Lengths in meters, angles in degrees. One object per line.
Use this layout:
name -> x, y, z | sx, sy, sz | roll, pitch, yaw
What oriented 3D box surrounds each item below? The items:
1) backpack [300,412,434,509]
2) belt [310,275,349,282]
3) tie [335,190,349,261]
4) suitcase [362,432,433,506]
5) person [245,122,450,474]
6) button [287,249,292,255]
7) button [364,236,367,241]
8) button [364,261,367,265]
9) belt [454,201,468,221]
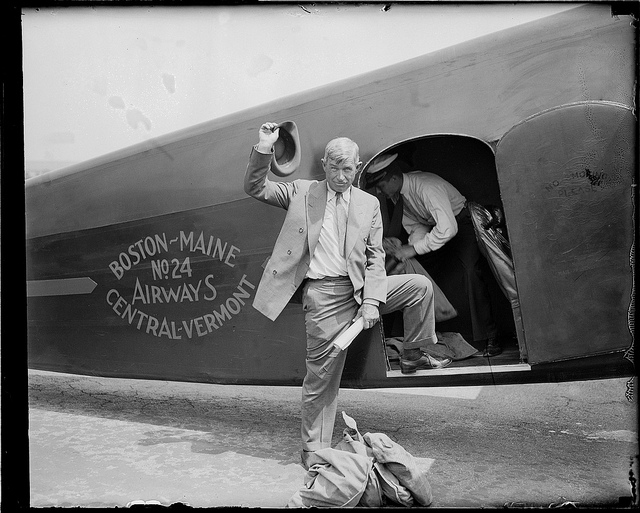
backpack -> 0.271, 1.244, 2.879 | 0.596, 0.291, 0.499 | 0, 1, 20
belt -> 0.062, 0.145, 3.240 | 0.243, 0.033, 0.031 | -1, 5, 5
tie -> 0.135, -0.220, 3.243 | 0.084, 0.448, 0.029 | -4, -1, 37
suitcase -> 0.481, 1.238, 2.904 | 0.106, 0.374, 0.365 | -31, -5, 0
person -> 0.126, 0.265, 3.363 | 1.161, 2.271, 0.690 | -4, 5, -30
button -> -0.201, -0.028, 3.258 | 0.019, 0.030, 0.007 | 3, -1, 11
button -> 0.293, -0.117, 3.217 | 0.006, 0.025, 0.025 | 7, 7, 36
button -> 0.296, 0.044, 3.221 | 0.006, 0.023, 0.015 | -5, -10, 40
belt -> 1.202, -0.372, 4.172 | 0.074, 0.158, 0.120 | 31, 31, 3
